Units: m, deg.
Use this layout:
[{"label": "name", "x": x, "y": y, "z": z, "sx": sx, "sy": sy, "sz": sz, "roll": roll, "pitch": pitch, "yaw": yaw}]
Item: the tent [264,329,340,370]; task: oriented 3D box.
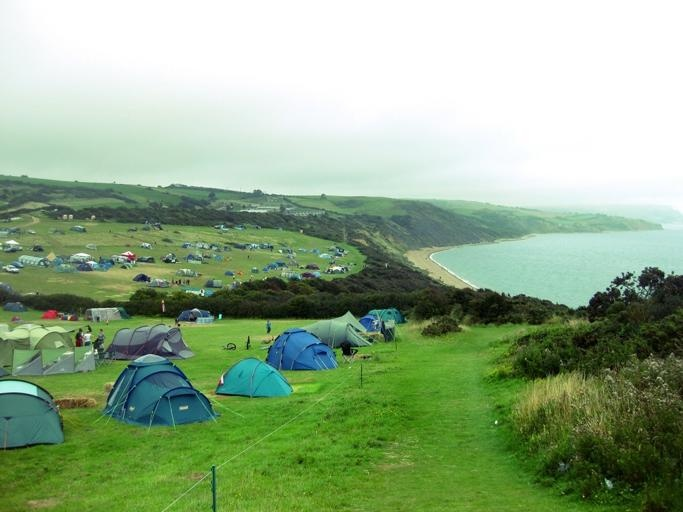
[{"label": "tent", "x": -2.501, "y": 5.872, "z": 33.498, "sx": 4.081, "sy": 2.269, "sz": 2.050, "roll": -2, "pitch": 6, "yaw": -1}]

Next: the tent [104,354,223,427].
[{"label": "tent", "x": -8.412, "y": 5.828, "z": 24.994, "sx": 4.477, "sy": 1.872, "sz": 5.512, "roll": -8, "pitch": 17, "yaw": -44}]
